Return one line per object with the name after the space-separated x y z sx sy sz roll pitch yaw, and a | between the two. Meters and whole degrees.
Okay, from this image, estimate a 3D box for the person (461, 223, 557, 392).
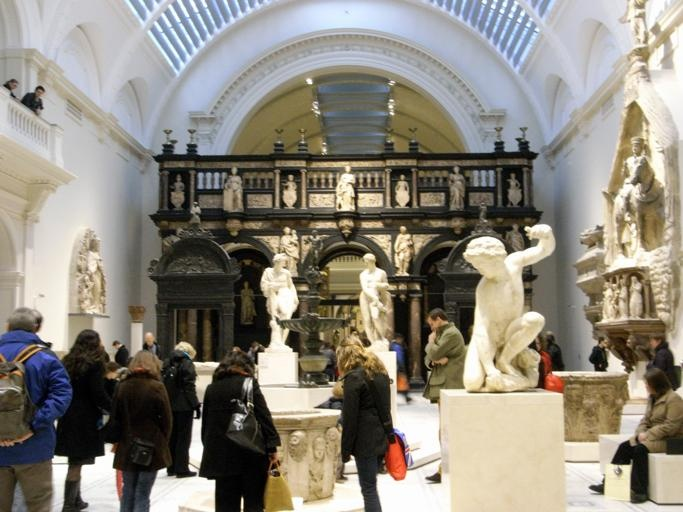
1.876 0.591 10.089 0.989 1.885 0.660 0 -10 -4 | person

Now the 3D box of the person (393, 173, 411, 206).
1.620 -1.701 23.582 0.415 0.859 0.305 -1 -10 3 | person

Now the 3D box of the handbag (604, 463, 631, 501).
3.584 2.944 11.481 0.412 0.572 0.214 -2 -25 21 | handbag

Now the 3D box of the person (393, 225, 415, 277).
1.669 -0.124 23.335 0.571 1.304 0.543 -1 -10 3 | person

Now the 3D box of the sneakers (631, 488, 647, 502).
3.810 3.095 11.421 0.258 0.157 0.084 -1 0 -3 | sneakers

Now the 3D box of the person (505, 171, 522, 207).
4.663 -1.757 23.739 0.429 0.960 0.268 0 -10 -1 | person

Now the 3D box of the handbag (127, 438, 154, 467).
-2.355 2.316 10.413 0.277 0.311 0.181 9 -23 -22 | handbag

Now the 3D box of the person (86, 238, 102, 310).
-5.938 0.474 21.570 0.423 1.938 0.855 2 -11 -14 | person

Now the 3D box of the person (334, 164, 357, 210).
0.125 -1.760 23.505 0.541 1.270 0.372 -1 -10 0 | person

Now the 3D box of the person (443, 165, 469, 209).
3.055 -1.780 23.580 0.425 1.279 0.427 -1 -10 5 | person
